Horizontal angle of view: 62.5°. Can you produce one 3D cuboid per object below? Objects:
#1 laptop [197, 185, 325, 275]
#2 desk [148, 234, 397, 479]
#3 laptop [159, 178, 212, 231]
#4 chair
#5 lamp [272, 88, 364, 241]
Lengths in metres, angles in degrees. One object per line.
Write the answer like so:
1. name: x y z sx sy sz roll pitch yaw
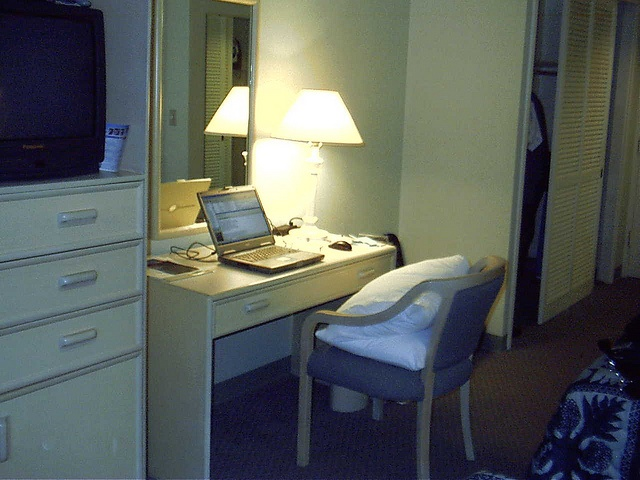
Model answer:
1. laptop: -0.289 -0.053 2.615 0.498 0.366 0.450 12 15 33
2. desk: -0.223 0.555 2.476 0.364 0.599 0.972 10 16 31
3. laptop: -0.711 -0.229 2.659 0.208 0.247 0.267 -1 8 -30
4. chair: 0.473 0.518 2.762 0.995 1.288 0.885 7 9 37
5. lamp: -0.067 -0.539 3.337 0.669 1.066 0.753 6 15 13
